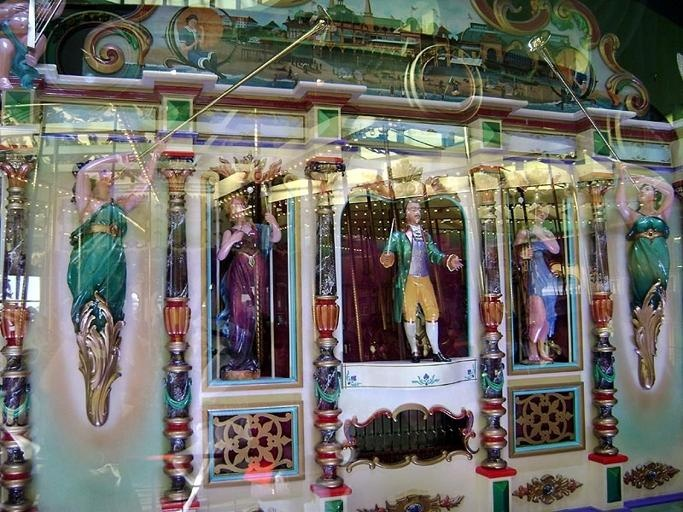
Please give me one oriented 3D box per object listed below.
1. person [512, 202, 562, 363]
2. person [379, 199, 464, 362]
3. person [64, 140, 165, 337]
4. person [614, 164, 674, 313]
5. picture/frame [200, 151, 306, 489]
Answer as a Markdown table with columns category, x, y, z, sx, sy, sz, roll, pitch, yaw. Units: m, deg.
| category | x | y | z | sx | sy | sz | roll | pitch | yaw |
| --- | --- | --- | --- | --- | --- | --- | --- | --- | --- |
| person | 1.426 | 0.213 | 5.093 | 0.326 | 1.115 | 0.288 | -4 | -9 | 8 |
| person | 0.534 | 0.173 | 4.842 | 0.553 | 1.089 | 0.198 | 4 | -11 | -37 |
| person | -1.419 | -0.020 | 4.380 | 0.512 | 1.423 | 0.320 | 3 | -27 | -23 |
| person | 2.181 | -0.125 | 5.069 | 0.399 | 0.998 | 0.277 | -3 | -9 | -1 |
| picture/frame | -0.572 | 0.418 | 4.553 | 0.646 | 2.056 | 0.437 | -1 | -9 | -11 |
